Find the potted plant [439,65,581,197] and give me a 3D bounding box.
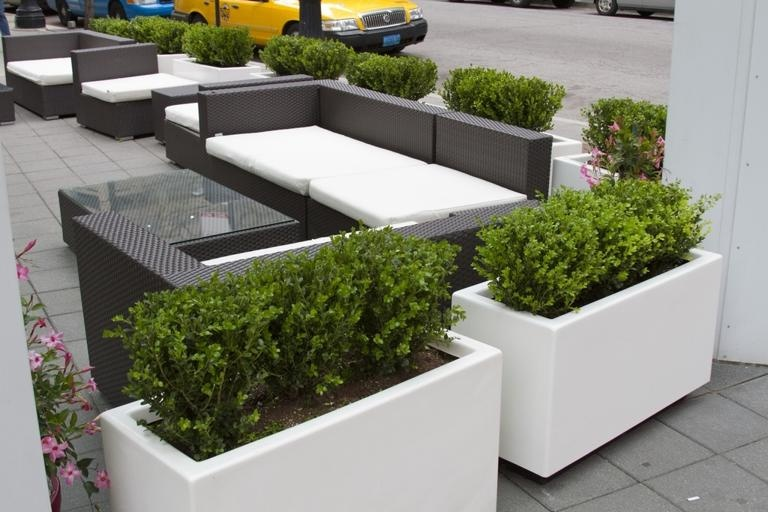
[{"bbox_3d":[1.051,-1.315,5.953,1.114,0.506,0.858,22,34,31],"label":"potted plant"}]
